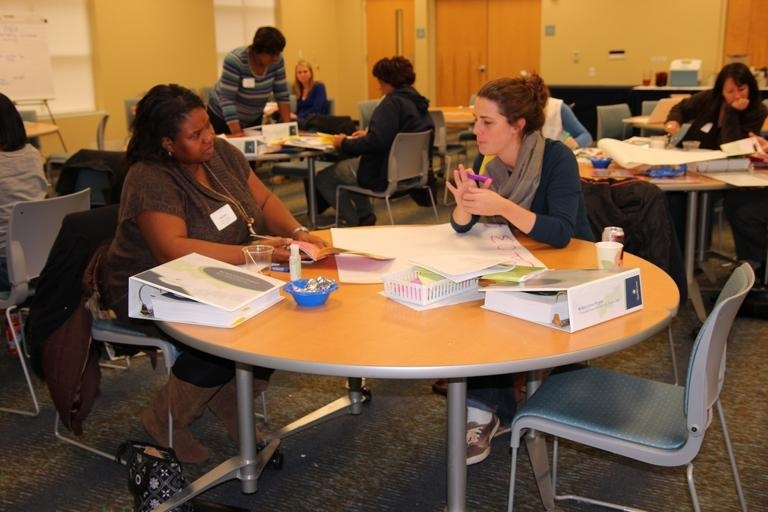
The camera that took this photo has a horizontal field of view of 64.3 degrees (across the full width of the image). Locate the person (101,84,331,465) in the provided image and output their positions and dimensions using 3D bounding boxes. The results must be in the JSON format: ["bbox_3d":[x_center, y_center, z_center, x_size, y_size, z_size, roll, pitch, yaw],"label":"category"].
[{"bbox_3d":[-0.810,0.101,2.850,1.070,1.684,0.731,8,16,21],"label":"person"}]

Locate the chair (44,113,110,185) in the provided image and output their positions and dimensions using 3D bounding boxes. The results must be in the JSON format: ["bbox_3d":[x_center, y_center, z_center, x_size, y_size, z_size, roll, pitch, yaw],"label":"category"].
[{"bbox_3d":[-3.661,-1.182,7.222,0.841,1.077,0.740,-1,9,-38],"label":"chair"}]

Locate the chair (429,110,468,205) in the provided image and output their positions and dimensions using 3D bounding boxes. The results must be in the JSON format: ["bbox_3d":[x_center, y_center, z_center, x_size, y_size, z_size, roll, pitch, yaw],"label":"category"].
[{"bbox_3d":[0.726,-1.202,6.984,0.646,0.848,0.646,6,20,22],"label":"chair"}]

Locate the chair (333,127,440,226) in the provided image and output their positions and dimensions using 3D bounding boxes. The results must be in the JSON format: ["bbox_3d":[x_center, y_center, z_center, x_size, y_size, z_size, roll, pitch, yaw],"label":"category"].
[{"bbox_3d":[0.014,-0.683,5.316,0.851,0.851,0.859,4,17,7],"label":"chair"}]

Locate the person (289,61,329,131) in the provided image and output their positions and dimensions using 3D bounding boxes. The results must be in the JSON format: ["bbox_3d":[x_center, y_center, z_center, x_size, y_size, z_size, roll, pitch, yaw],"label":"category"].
[{"bbox_3d":[-1.065,-2.103,8.004,0.519,0.820,0.581,-1,8,40],"label":"person"}]

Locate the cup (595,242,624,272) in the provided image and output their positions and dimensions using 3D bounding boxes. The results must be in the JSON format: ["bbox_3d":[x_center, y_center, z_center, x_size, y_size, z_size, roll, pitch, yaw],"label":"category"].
[{"bbox_3d":[0.837,0.003,2.261,0.103,0.109,0.104,0,4,0],"label":"cup"}]

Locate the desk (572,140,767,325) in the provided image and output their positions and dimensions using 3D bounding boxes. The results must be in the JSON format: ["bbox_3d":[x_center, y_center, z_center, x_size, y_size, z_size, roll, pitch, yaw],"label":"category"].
[{"bbox_3d":[1.908,-0.123,4.031,1.186,0.774,1.208,15,29,37],"label":"desk"}]

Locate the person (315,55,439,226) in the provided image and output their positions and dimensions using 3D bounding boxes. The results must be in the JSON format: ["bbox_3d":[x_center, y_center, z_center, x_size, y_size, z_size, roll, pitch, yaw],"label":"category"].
[{"bbox_3d":[-0.103,-0.931,5.470,0.954,1.597,0.824,12,21,23],"label":"person"}]

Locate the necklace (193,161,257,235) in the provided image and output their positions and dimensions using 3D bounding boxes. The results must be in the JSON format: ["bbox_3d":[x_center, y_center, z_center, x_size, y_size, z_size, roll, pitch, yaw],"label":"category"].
[{"bbox_3d":[-0.735,-0.274,2.787,0.145,0.074,0.494,16,28,-42],"label":"necklace"}]

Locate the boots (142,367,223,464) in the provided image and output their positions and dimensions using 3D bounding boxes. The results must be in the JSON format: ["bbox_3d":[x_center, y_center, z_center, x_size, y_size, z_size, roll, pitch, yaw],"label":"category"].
[{"bbox_3d":[-0.913,0.678,2.758,0.338,0.453,0.205,50,40,11],"label":"boots"}]

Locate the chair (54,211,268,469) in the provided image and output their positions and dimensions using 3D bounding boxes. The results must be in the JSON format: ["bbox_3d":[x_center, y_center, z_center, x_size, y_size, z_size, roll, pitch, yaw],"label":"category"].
[{"bbox_3d":[-1.280,0.258,3.190,1.158,1.231,0.999,8,16,19],"label":"chair"}]

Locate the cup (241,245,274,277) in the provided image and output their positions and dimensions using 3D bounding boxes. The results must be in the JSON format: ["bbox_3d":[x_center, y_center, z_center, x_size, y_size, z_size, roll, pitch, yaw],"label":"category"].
[{"bbox_3d":[-0.496,0.016,2.329,0.109,0.079,0.108,0,9,0],"label":"cup"}]
